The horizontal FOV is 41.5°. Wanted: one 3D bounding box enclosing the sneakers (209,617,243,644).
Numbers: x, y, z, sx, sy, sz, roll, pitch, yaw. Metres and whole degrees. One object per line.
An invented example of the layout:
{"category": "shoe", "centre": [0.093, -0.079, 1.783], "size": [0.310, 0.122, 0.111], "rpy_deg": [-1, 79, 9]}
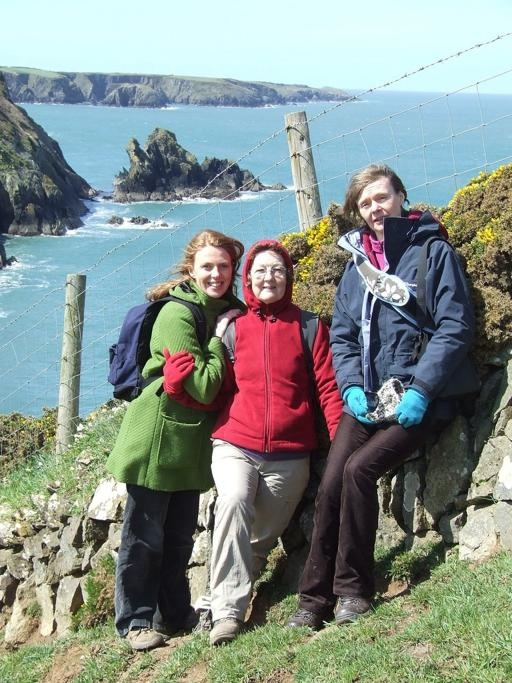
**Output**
{"category": "sneakers", "centre": [-0.152, 1.467, 3.418], "size": [0.175, 0.116, 0.101], "rpy_deg": [-10, 4, -8]}

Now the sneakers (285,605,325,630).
{"category": "sneakers", "centre": [0.248, 1.357, 3.305], "size": [0.224, 0.079, 0.079], "rpy_deg": [16, -9, -38]}

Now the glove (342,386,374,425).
{"category": "glove", "centre": [0.549, 0.347, 3.540], "size": [0.085, 0.148, 0.190], "rpy_deg": [-34, 42, 8]}

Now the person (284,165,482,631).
{"category": "person", "centre": [0.659, 0.182, 3.515], "size": [0.814, 1.688, 1.359], "rpy_deg": [-7, 5, 43]}

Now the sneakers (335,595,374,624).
{"category": "sneakers", "centre": [0.462, 1.257, 3.204], "size": [0.183, 0.090, 0.258], "rpy_deg": [-8, 3, 5]}

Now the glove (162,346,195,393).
{"category": "glove", "centre": [-0.440, 0.169, 3.753], "size": [0.073, 0.221, 0.231], "rpy_deg": [20, 18, -51]}

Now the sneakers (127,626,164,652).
{"category": "sneakers", "centre": [-0.626, 1.732, 3.916], "size": [0.233, 0.091, 0.095], "rpy_deg": [-16, -17, 42]}

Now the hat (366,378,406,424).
{"category": "hat", "centre": [0.671, 0.309, 3.455], "size": [0.173, 0.221, 0.075], "rpy_deg": [22, -17, -3]}
